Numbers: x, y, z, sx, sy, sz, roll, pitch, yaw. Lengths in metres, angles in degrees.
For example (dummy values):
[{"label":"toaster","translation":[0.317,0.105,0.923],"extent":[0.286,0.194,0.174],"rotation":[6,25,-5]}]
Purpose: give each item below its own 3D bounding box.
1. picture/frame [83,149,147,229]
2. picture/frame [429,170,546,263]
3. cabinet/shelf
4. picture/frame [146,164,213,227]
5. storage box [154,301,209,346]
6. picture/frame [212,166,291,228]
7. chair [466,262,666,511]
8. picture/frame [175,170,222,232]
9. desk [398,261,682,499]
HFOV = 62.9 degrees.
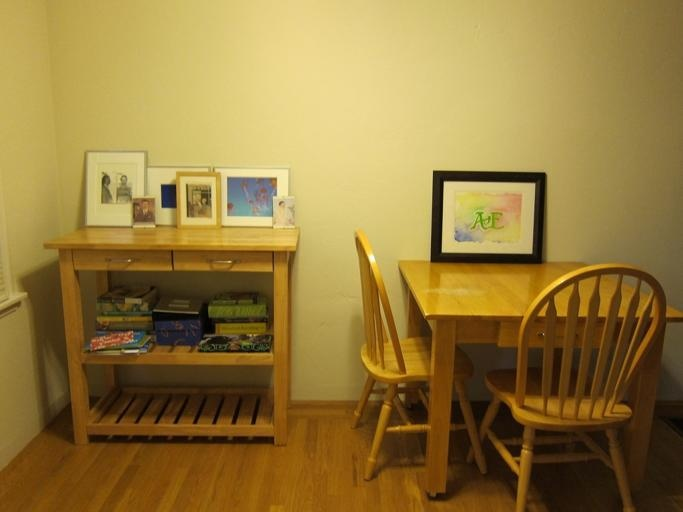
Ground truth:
[{"label":"picture/frame","translation":[-1.249,-0.386,3.102],"extent":[0.438,0.543,0.036],"rotation":[0,3,-6]},{"label":"picture/frame","translation":[0.820,-0.246,3.154],"extent":[0.510,0.454,0.038],"rotation":[1,8,-1]},{"label":"cabinet/shelf","translation":[-0.843,0.405,3.050],"extent":[1.182,1.133,0.513],"rotation":[1,11,-4]},{"label":"picture/frame","translation":[-0.889,-0.350,3.092],"extent":[0.344,0.339,0.023],"rotation":[-1,6,-3]},{"label":"storage box","translation":[-0.853,0.351,2.959],"extent":[0.232,0.230,0.174],"rotation":[2,-16,-7]},{"label":"picture/frame","translation":[-0.498,-0.347,3.115],"extent":[0.349,0.261,0.013],"rotation":[0,8,2]},{"label":"chair","translation":[1.090,0.551,2.652],"extent":[0.698,1.179,0.920],"rotation":[8,15,31]},{"label":"picture/frame","translation":[-0.784,-0.304,3.072],"extent":[0.335,0.456,0.034],"rotation":[0,6,-6]},{"label":"desk","translation":[0.838,0.553,2.968],"extent":[1.176,0.944,1.250],"rotation":[2,12,-2]}]
